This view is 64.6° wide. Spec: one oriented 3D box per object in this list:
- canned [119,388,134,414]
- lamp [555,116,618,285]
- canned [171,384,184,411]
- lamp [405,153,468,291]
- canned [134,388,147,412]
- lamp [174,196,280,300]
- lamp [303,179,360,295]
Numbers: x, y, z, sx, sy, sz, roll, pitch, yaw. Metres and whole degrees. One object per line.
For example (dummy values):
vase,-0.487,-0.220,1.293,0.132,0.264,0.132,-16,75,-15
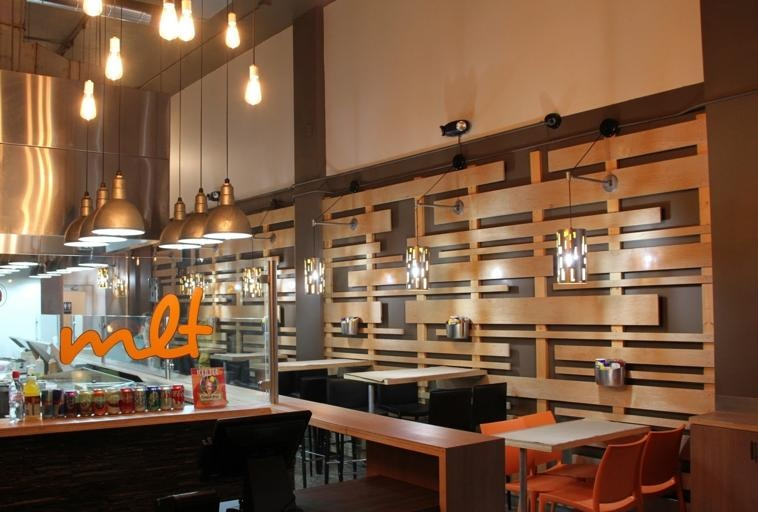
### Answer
canned,-1.890,1.094,4.512,0.108,0.182,0.035,1,-7,-9
lamp,2.129,-0.622,6.465,0.669,1.870,0.869,-6,-9,43
canned,-1.562,1.103,4.673,0.082,0.182,0.078,0,-7,-5
lamp,0.582,-0.448,7.973,0.772,1.822,0.936,5,-8,-36
canned,-1.803,1.096,4.542,0.085,0.181,0.034,3,-7,-22
lamp,-1.711,-0.093,6.099,0.753,1.152,2.563,2,-8,-20
lamp,-0.865,-0.281,9.266,0.775,1.745,0.967,4,-8,-33
